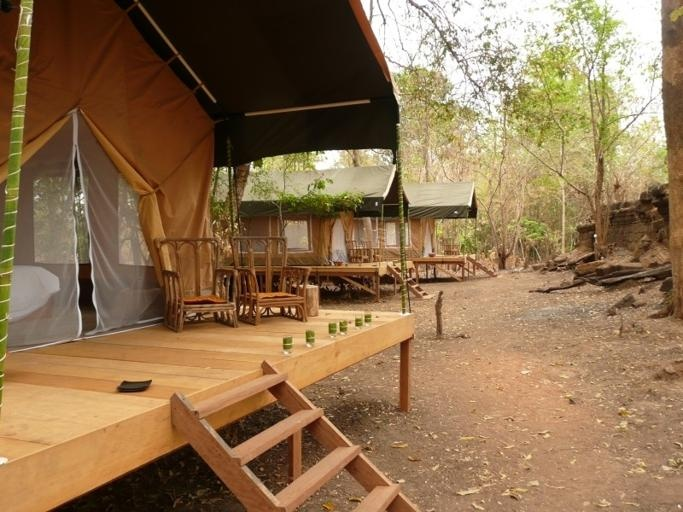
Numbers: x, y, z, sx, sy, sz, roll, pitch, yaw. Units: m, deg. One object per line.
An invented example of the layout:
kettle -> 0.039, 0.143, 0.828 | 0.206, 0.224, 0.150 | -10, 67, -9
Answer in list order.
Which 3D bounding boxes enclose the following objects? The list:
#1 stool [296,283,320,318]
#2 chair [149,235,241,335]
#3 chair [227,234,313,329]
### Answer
stool -> -0.390, 0.533, 5.729 | 0.291, 0.342, 0.279 | -3, 1, -35
chair -> -1.599, 0.287, 5.290 | 0.895, 1.048, 0.926 | 0, 0, 12
chair -> -0.820, 0.248, 5.485 | 0.785, 1.061, 0.761 | 1, -2, -44
